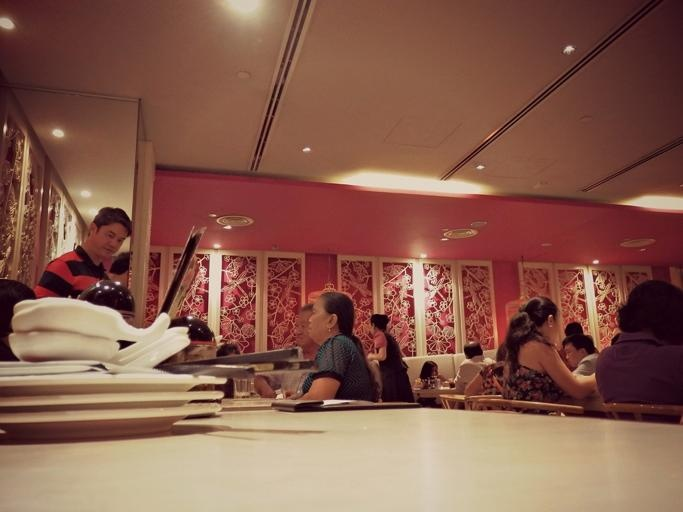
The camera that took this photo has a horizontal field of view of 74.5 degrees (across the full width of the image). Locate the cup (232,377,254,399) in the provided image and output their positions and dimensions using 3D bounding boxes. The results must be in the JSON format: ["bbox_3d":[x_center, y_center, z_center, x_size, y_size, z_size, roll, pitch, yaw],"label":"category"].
[{"bbox_3d":[-0.430,0.573,1.961,0.081,0.096,0.198,3,-8,-9],"label":"cup"}]

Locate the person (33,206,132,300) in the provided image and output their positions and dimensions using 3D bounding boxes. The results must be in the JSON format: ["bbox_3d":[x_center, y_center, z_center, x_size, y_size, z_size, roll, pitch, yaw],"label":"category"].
[{"bbox_3d":[-1.493,-0.054,2.661,0.370,0.611,0.755,6,-9,-23],"label":"person"}]

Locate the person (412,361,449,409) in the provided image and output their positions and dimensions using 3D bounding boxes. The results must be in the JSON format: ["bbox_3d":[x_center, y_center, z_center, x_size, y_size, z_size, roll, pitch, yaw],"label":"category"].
[{"bbox_3d":[1.179,1.780,5.962,0.382,0.768,0.364,-6,3,4],"label":"person"}]
